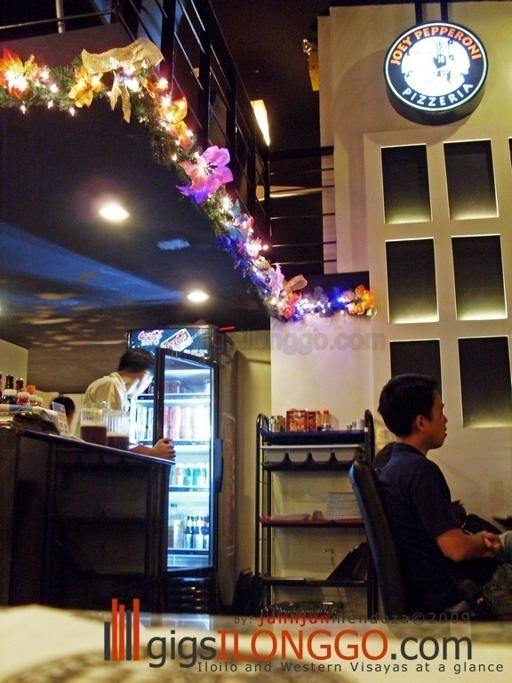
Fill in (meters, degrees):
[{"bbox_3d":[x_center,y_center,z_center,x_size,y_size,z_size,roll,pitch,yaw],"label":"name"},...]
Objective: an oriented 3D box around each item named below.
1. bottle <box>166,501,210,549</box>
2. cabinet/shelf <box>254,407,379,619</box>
[{"bbox_3d":[-0.580,1.575,5.264,0.322,0.366,0.155,2,-12,-12],"label":"bottle"},{"bbox_3d":[0.370,1.252,3.938,0.702,1.529,0.463,-1,-4,7],"label":"cabinet/shelf"}]
